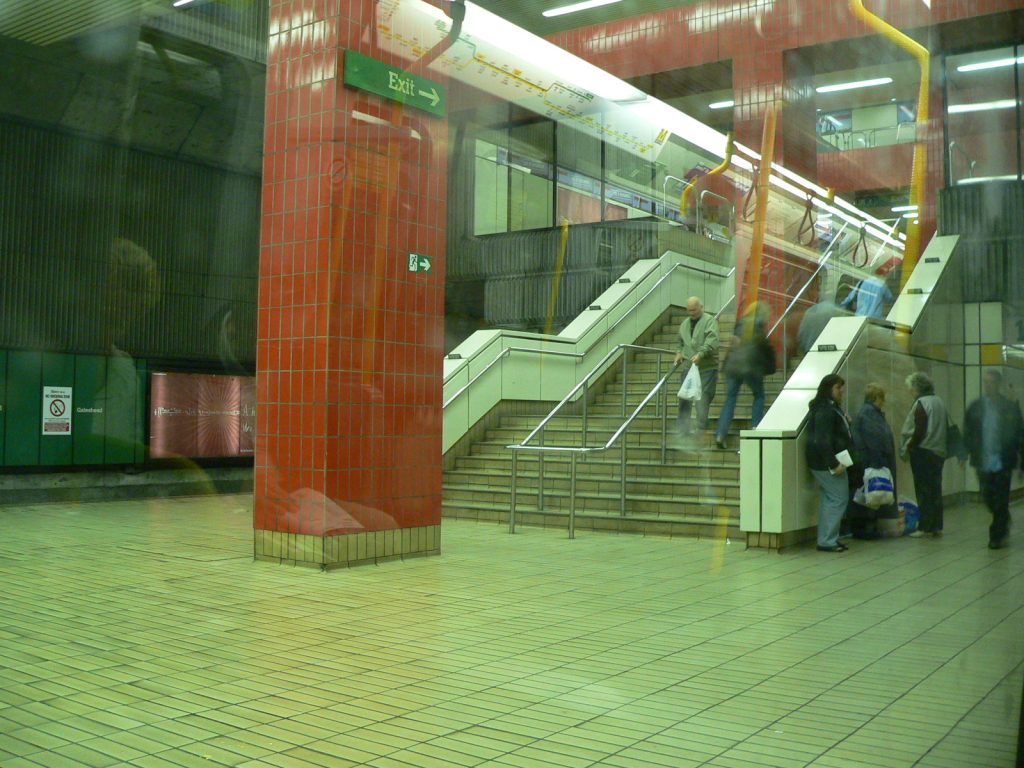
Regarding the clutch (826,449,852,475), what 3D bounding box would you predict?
[{"bbox_3d":[2.746,0.641,8.447,0.182,0.185,0.187,6,-12,-36],"label":"clutch"}]
